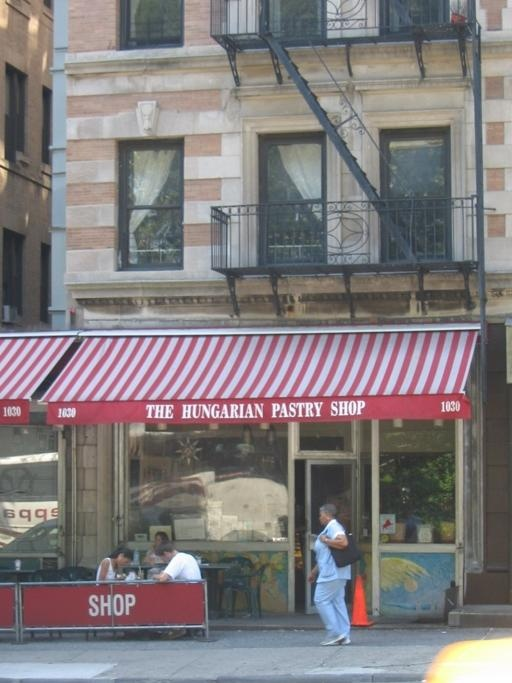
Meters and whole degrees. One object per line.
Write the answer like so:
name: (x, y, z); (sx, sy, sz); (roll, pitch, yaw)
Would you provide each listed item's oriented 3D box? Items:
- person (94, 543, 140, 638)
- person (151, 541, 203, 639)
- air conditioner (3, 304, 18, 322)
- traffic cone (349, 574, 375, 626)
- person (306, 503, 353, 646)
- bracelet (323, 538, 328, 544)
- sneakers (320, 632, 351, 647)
person: (-1.760, 3.056, 29.447); (0.471, 1.161, 0.509); (6, -6, -1)
person: (-0.961, 3.237, 28.685); (0.535, 1.278, 0.517); (-11, -16, 16)
air conditioner: (-3.984, -0.300, 37.434); (0.168, 0.303, 0.368); (-1, -5, 8)
traffic cone: (1.358, 3.470, 30.009); (0.427, 0.631, 0.491); (0, 6, 19)
person: (0.905, 2.974, 28.223); (0.476, 1.731, 0.557); (-2, -4, 1)
bracelet: (0.861, 2.526, 28.082); (0.045, 0.080, 0.020); (-6, -8, 29)
sneakers: (0.985, 3.756, 27.973); (0.309, 0.177, 0.137); (-6, -14, 1)
